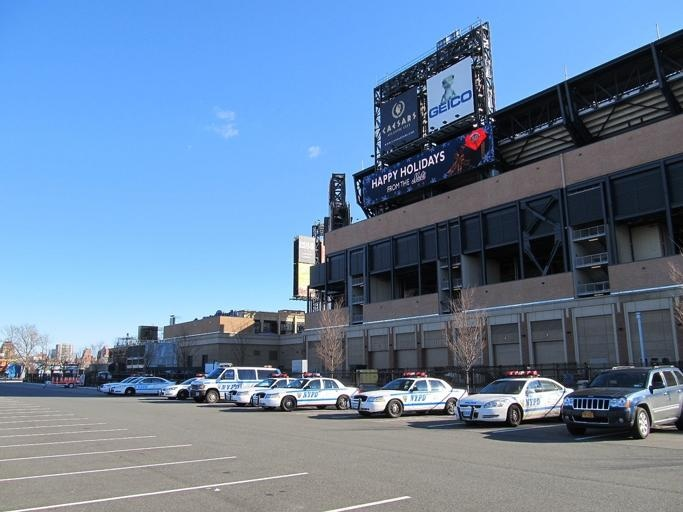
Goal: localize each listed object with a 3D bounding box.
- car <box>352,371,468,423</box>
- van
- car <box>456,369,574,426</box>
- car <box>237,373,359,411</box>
[{"bbox_3d":[2.831,6.290,26.981,4.687,1.645,2.007,10,-18,-28],"label":"car"},{"bbox_3d":[-6.483,7.661,36.901,4.539,1.923,2.439,7,-18,-27],"label":"van"},{"bbox_3d":[6.281,5.382,22.568,3.916,1.837,1.409,7,-17,-27],"label":"car"},{"bbox_3d":[-1.862,6.887,30.352,4.698,1.667,1.231,5,-17,-21],"label":"car"}]
